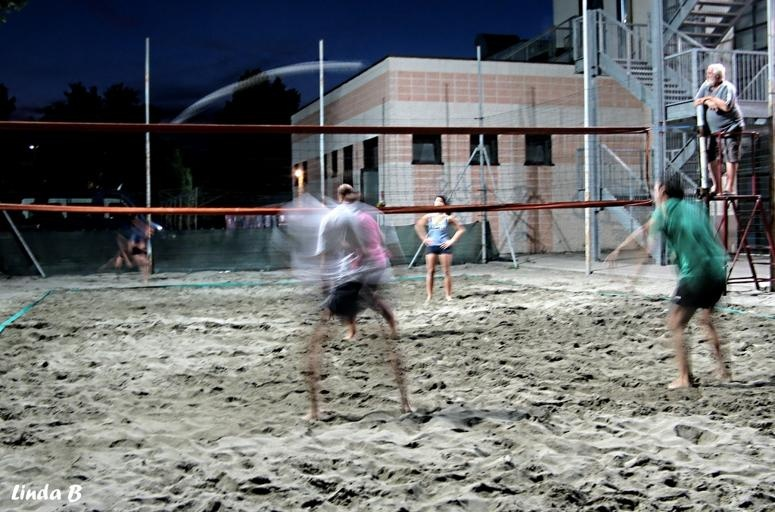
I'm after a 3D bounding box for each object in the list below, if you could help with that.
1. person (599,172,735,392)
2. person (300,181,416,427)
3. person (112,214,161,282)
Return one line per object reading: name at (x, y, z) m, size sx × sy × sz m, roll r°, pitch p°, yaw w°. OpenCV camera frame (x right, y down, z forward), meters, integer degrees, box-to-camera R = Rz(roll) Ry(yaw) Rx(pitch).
person at (2.797, 0.189, 6.120) m, size 0.945 × 1.904 × 1.067 m, roll 4°, pitch 16°, yaw 24°
person at (-0.383, 0.282, 6.037) m, size 1.132 × 2.000 × 0.776 m, roll -10°, pitch 8°, yaw -37°
person at (-5.927, -0.141, 15.020) m, size 1.006 × 1.447 × 0.986 m, roll 1°, pitch -5°, yaw -14°
